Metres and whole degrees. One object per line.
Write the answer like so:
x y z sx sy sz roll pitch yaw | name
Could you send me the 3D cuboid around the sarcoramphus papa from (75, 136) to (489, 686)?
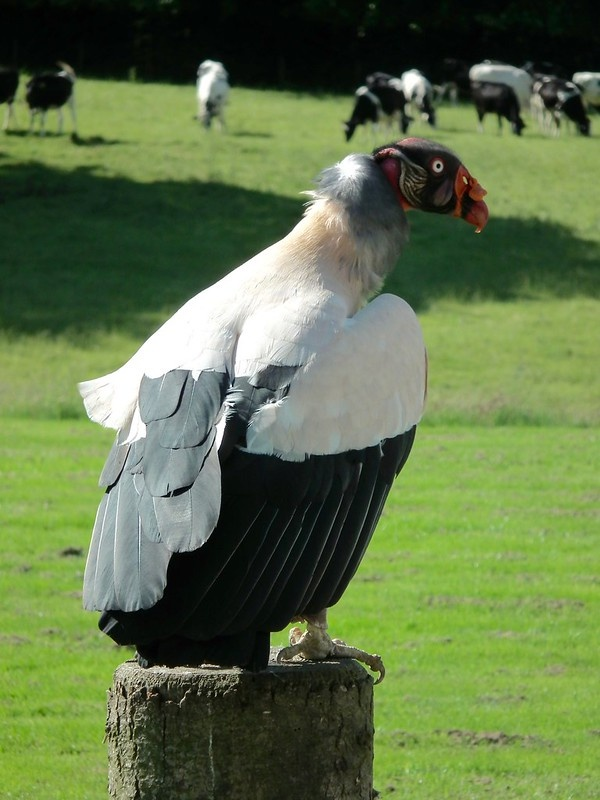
0.009 0.044 5.382 1.382 1.631 1.101 -9 13 -41 | sarcoramphus papa
